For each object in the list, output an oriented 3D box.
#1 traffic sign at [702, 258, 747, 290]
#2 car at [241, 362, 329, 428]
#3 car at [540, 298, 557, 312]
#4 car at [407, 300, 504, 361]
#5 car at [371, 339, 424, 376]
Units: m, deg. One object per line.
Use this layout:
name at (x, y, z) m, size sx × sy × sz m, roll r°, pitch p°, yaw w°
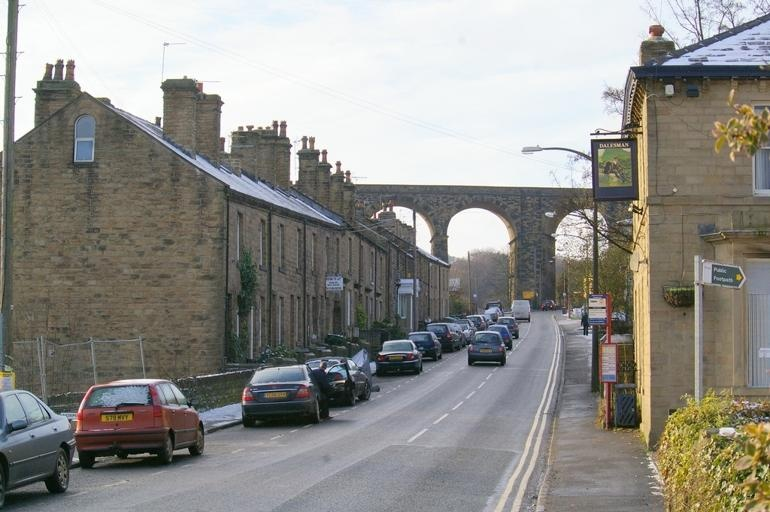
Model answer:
traffic sign at (8.304, 0.453, 32.436) m, size 0.817 × 0.483 × 0.116 m, roll 5°, pitch -10°, yaw -14°
car at (-3.324, 4.427, 42.235) m, size 2.389 × 1.824 × 1.066 m, roll -3°, pitch -5°, yaw -11°
car at (15.488, 4.709, 126.739) m, size 1.251 × 0.878 × 2.593 m, roll 0°, pitch 1°, yaw 15°
car at (4.103, 4.466, 79.825) m, size 2.902 × 2.109 × 6.460 m, roll 0°, pitch -1°, yaw 9°
car at (0.570, 4.572, 59.730) m, size 1.900 × 1.530 × 1.247 m, roll -4°, pitch -5°, yaw 3°
